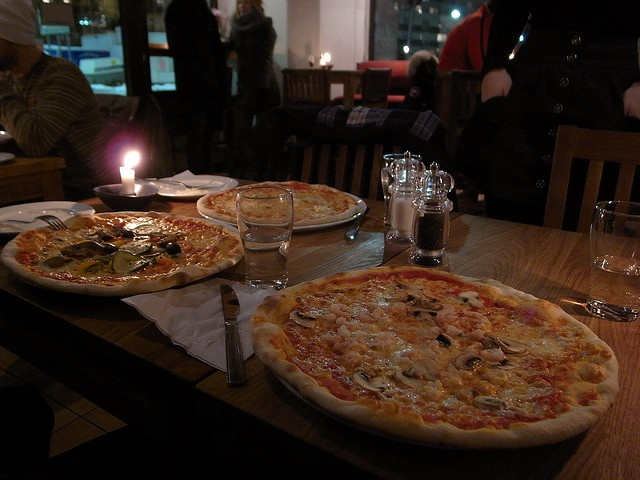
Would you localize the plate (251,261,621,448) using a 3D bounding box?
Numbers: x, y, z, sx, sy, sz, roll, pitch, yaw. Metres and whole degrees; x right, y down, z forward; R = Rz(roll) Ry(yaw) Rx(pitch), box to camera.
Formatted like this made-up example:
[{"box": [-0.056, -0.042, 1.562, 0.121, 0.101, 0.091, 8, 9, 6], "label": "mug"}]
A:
[{"box": [0.197, 0.170, 0.864, 0.428, 0.035, 0.327, -1, 19, -1], "label": "plate"}]

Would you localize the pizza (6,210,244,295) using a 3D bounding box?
[{"box": [-0.517, 0.035, 1.284, 0.380, 0.030, 0.299, 4, 19, 1], "label": "pizza"}]

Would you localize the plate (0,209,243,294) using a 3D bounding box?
[{"box": [-0.530, 0.038, 1.271, 0.381, 0.031, 0.299, 4, 19, 3], "label": "plate"}]

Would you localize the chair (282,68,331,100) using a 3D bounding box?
[{"box": [-0.183, -1.941, 6.182, 0.335, 0.436, 1.038, -8, 18, -21], "label": "chair"}]

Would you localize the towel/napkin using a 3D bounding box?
[{"box": [-0.253, 0.163, 0.994, 0.195, 0.022, 0.208, 22, 24, 35], "label": "towel/napkin"}]

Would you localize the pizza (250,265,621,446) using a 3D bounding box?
[{"box": [0.207, 0.215, 0.895, 0.427, 0.035, 0.325, -1, 19, -2], "label": "pizza"}]

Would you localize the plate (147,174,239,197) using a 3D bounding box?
[{"box": [-0.493, -0.208, 1.915, 0.189, 0.020, 0.184, -15, 24, -43], "label": "plate"}]
